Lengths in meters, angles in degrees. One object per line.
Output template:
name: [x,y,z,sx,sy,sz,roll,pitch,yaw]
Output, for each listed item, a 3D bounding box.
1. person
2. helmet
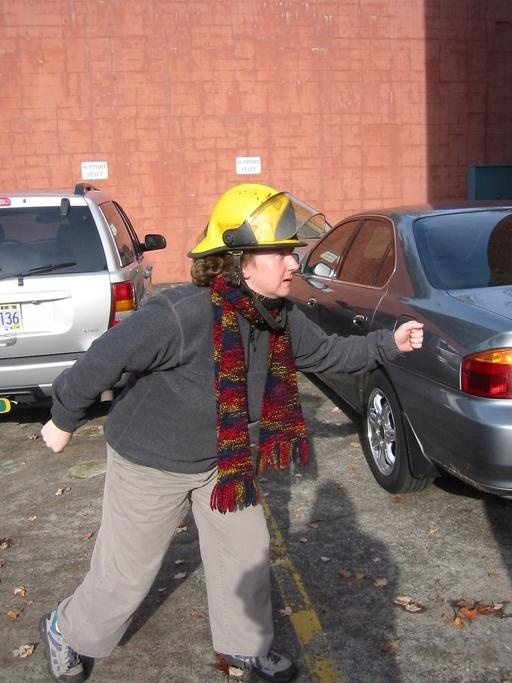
person: [-0.133,0.402,1.911,1.186,1.745,0.469,-7,13,-16]
helmet: [0.021,-0.340,1.666,0.374,0.167,0.235,5,21,21]
